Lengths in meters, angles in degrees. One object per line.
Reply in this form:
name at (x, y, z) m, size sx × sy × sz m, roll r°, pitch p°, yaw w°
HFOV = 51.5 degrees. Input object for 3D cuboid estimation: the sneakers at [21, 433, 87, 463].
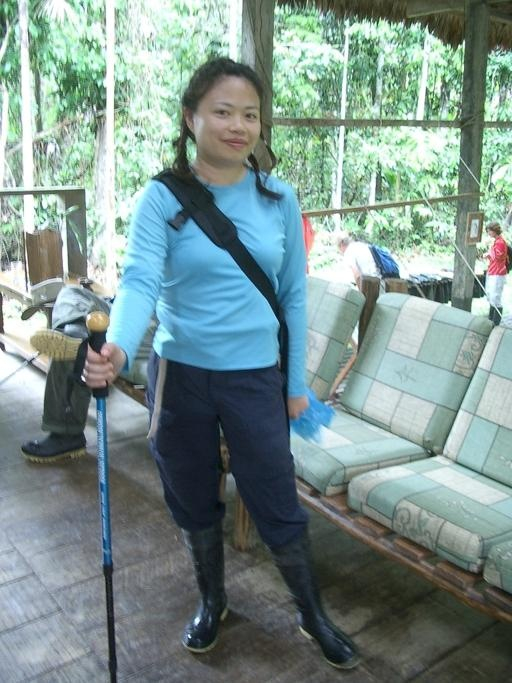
sneakers at (-1.017, 0.546, 2.714) m, size 0.265 × 0.151 × 0.137 m, roll 2°, pitch 6°, yaw -25°

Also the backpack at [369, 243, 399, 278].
backpack at (1.100, -0.625, 4.640) m, size 0.229 × 0.337 × 0.094 m, roll -2°, pitch -21°, yaw -45°

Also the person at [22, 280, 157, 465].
person at (-0.842, 0.177, 2.982) m, size 0.629 × 0.902 × 0.784 m, roll 8°, pitch 2°, yaw 5°

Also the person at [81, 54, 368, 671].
person at (-0.105, 0.148, 1.157) m, size 0.664 × 1.396 × 0.336 m, roll -5°, pitch 7°, yaw -43°
